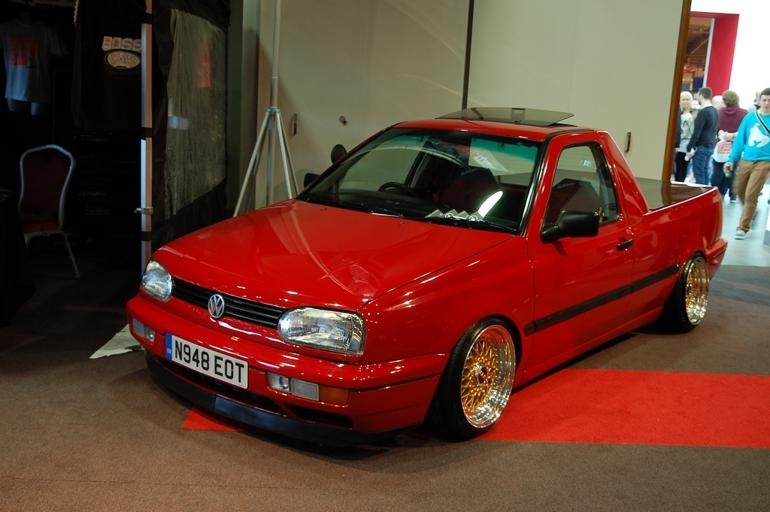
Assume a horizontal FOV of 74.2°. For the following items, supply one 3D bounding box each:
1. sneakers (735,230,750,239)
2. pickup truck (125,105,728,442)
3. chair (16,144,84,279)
[{"bbox_3d":[5.781,-0.346,8.233,0.153,0.196,0.469,3,6,31],"label":"sneakers"},{"bbox_3d":[0.478,0.118,3.469,3.413,1.426,1.956,-12,19,-39],"label":"pickup truck"},{"bbox_3d":[-3.565,-0.536,5.405,0.532,1.227,1.226,-9,20,-35],"label":"chair"}]
